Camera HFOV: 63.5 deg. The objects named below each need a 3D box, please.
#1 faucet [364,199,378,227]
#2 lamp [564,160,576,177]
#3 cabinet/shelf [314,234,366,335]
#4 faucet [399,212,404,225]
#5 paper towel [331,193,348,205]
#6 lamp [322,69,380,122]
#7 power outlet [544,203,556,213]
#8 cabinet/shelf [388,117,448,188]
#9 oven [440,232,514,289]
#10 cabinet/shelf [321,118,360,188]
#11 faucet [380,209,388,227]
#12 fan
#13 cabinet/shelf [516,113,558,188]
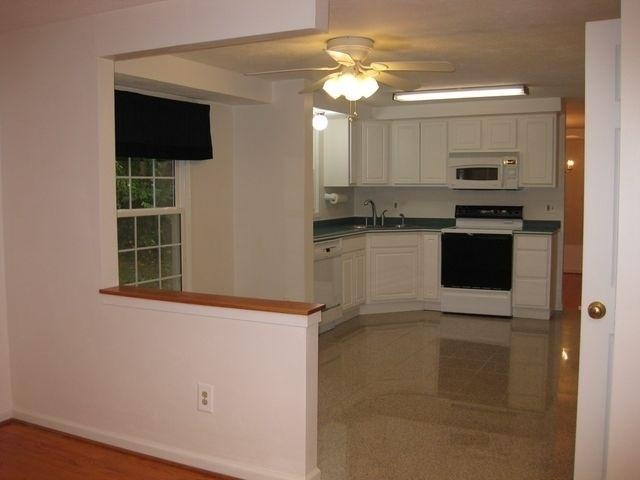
[{"bbox_3d":[0.735,-0.405,7.659,0.214,0.388,0.438,-1,4,5],"label":"faucet"},{"bbox_3d":[4.761,-1.407,9.924,0.250,0.290,0.133,-4,5,-42],"label":"lamp"},{"bbox_3d":[0.129,0.468,6.488,0.576,1.089,1.183,1,6,35],"label":"cabinet/shelf"},{"bbox_3d":[1.206,-0.307,7.687,0.074,0.174,0.128,0,4,6],"label":"faucet"},{"bbox_3d":[0.251,-0.585,7.368,0.240,0.163,0.521,-1,4,1],"label":"paper towel"},{"bbox_3d":[0.216,-1.182,3.905,0.394,0.224,0.214,-1,4,-1],"label":"lamp"},{"bbox_3d":[3.107,-0.425,7.041,0.178,0.172,0.092,-1,2,29],"label":"power outlet"},{"bbox_3d":[1.368,-1.249,7.154,0.880,1.080,0.373,2,6,21],"label":"cabinet/shelf"},{"bbox_3d":[2.167,0.344,6.920,0.984,0.891,0.742,1,1,30],"label":"oven"},{"bbox_3d":[0.233,-1.225,7.283,0.542,0.967,0.563,-1,9,-4],"label":"cabinet/shelf"},{"bbox_3d":[0.931,-0.330,7.714,0.095,0.240,0.253,0,4,16],"label":"faucet"},{"bbox_3d":[0.496,-1.303,4.127,0.932,0.385,0.938,0,1,44],"label":"fan"},{"bbox_3d":[2.860,-1.130,6.906,0.489,1.008,0.446,2,-8,18],"label":"cabinet/shelf"}]
